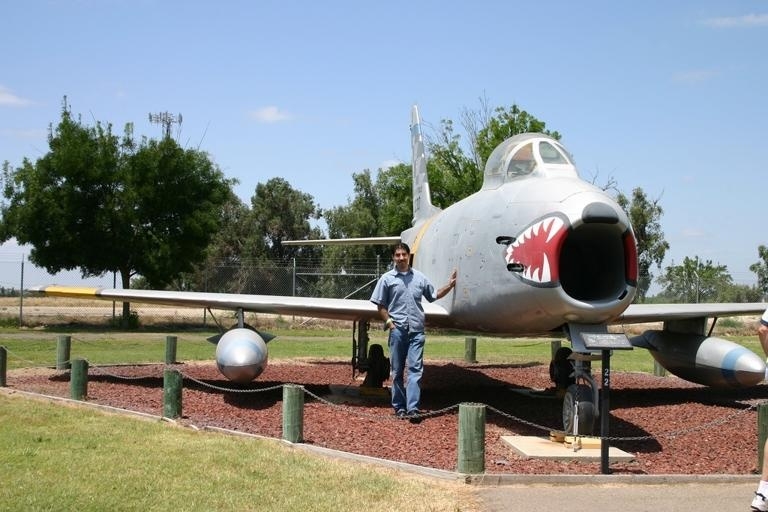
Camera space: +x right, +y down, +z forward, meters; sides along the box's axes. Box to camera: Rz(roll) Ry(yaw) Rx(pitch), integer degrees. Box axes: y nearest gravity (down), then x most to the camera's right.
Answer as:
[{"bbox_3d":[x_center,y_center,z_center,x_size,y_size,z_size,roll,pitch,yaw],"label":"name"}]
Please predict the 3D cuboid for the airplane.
[{"bbox_3d":[2.608,-0.106,17.645,11.037,5.828,6.187,4,8,20],"label":"airplane"}]

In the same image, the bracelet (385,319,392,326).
[{"bbox_3d":[0.103,1.266,15.688,0.058,0.094,0.109,-10,-11,-46],"label":"bracelet"}]
